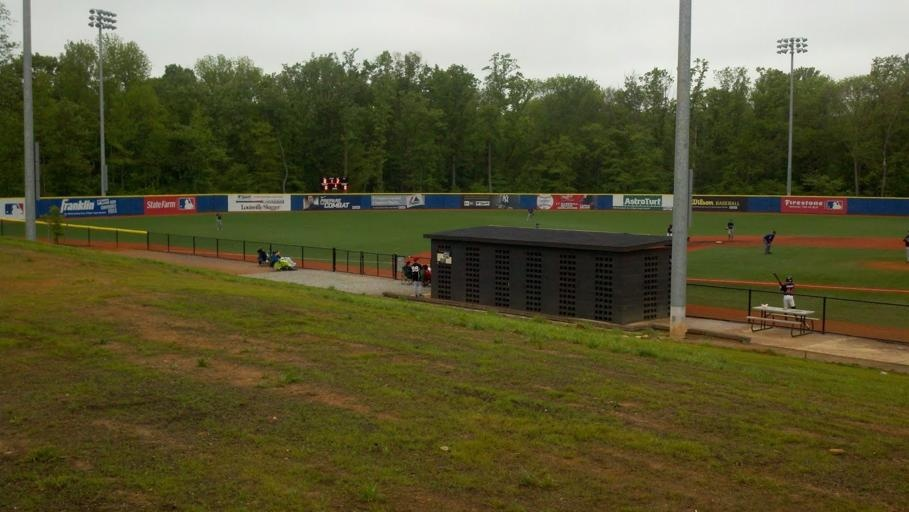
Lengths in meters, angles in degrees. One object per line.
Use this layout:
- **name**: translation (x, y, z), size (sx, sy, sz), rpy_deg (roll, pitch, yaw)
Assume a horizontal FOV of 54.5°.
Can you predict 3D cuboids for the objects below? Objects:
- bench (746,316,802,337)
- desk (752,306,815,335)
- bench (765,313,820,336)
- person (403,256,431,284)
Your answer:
- **bench**: translation (14.874, 3.213, 40.739), size (2.490, 0.659, 1.855), rpy_deg (4, 3, 23)
- **desk**: translation (15.412, 3.039, 41.299), size (2.159, 0.884, 2.048), rpy_deg (-6, 8, -36)
- **bench**: translation (15.922, 3.175, 41.149), size (1.698, 0.431, 1.623), rpy_deg (-9, 11, -38)
- **person**: translation (-2.098, 0.968, 50.594), size (1.066, 1.193, 1.971), rpy_deg (1, 4, -20)
